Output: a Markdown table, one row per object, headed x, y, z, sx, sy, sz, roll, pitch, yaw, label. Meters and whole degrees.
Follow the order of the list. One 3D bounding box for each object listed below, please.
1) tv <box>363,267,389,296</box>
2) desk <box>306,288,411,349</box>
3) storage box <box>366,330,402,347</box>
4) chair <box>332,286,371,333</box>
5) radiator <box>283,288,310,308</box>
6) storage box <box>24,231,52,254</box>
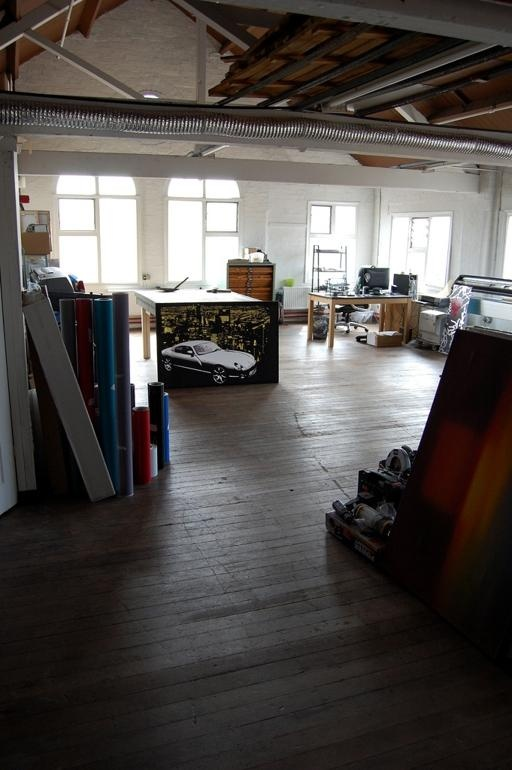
| x | y | z | sx | sy | sz | roll | pitch | yaw | label |
| --- | --- | --- | --- | --- | --- | --- | --- | --- | --- |
| 2.517 | -2.246 | 11.251 | 0.601 | 0.609 | 0.208 | -1 | 16 | -8 | tv |
| 2.213 | -1.450 | 11.259 | 2.206 | 1.107 | 1.193 | -5 | 11 | -24 | desk |
| 2.670 | -0.973 | 11.016 | 0.718 | 0.295 | 0.525 | 1 | 10 | 7 | storage box |
| 2.426 | -1.936 | 13.085 | 0.889 | 1.198 | 0.982 | -2 | 9 | -29 | chair |
| 0.988 | -2.298 | 13.571 | 0.813 | 0.603 | 0.091 | -5 | 14 | -25 | radiator |
| -3.198 | -2.096 | 7.771 | 0.328 | 0.344 | 0.337 | 6 | 13 | 18 | storage box |
